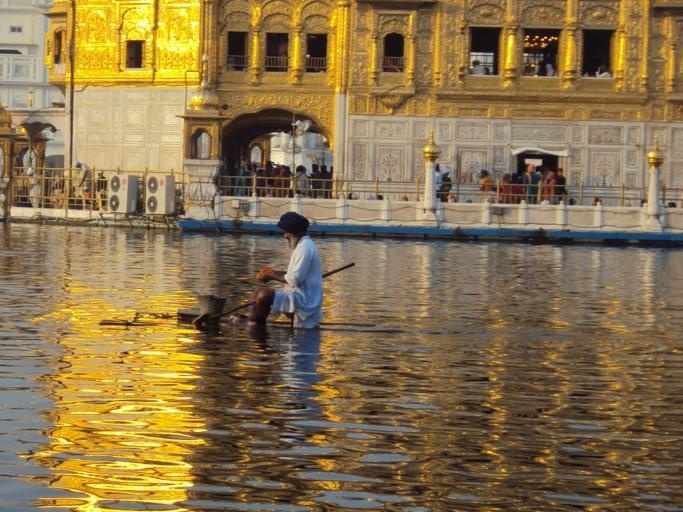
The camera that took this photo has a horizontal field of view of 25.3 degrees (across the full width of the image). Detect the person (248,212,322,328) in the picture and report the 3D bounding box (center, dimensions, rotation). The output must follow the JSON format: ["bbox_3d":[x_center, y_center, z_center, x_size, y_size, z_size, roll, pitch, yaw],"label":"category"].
[{"bbox_3d":[-0.690,0.216,20.542,0.887,1.585,0.499,2,13,7],"label":"person"}]

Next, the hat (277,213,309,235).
[{"bbox_3d":[-0.670,-0.439,20.587,0.311,0.197,0.398,-4,5,-29],"label":"hat"}]

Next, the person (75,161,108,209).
[{"bbox_3d":[-7.077,-1.992,43.436,1.091,0.541,1.745,-4,20,-9],"label":"person"}]

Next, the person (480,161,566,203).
[{"bbox_3d":[4.901,-1.860,40.609,1.730,0.576,1.553,1,-1,-25],"label":"person"}]
